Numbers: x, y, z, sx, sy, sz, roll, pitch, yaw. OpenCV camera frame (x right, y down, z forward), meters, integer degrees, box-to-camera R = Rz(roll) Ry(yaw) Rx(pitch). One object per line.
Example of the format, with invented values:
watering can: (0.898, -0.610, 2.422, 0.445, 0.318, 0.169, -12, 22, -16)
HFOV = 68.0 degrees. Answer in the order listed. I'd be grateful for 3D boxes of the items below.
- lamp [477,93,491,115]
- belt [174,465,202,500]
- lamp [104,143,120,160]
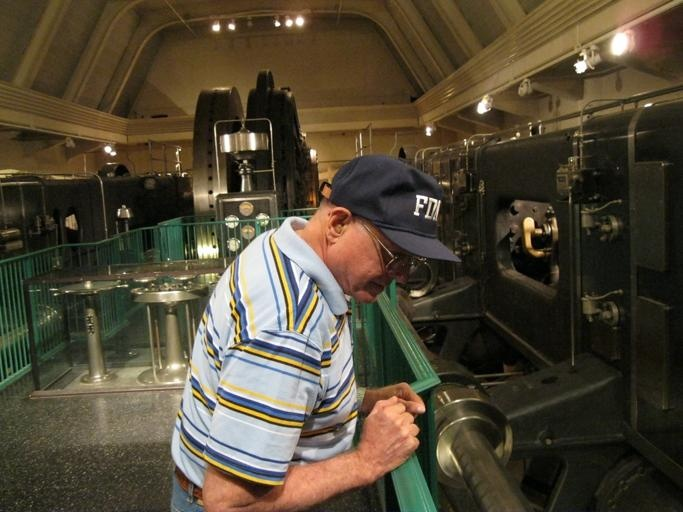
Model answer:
lamp: (3.296, -3.598, 11.778, 0.251, 0.490, 1.064, -1, 3, 11)
belt: (-0.564, 0.826, 1.839, 0.094, 0.024, 0.090, 38, -3, 11)
lamp: (-10.057, -4.608, 22.110, 0.532, 0.274, 0.743, 7, -12, 24)
